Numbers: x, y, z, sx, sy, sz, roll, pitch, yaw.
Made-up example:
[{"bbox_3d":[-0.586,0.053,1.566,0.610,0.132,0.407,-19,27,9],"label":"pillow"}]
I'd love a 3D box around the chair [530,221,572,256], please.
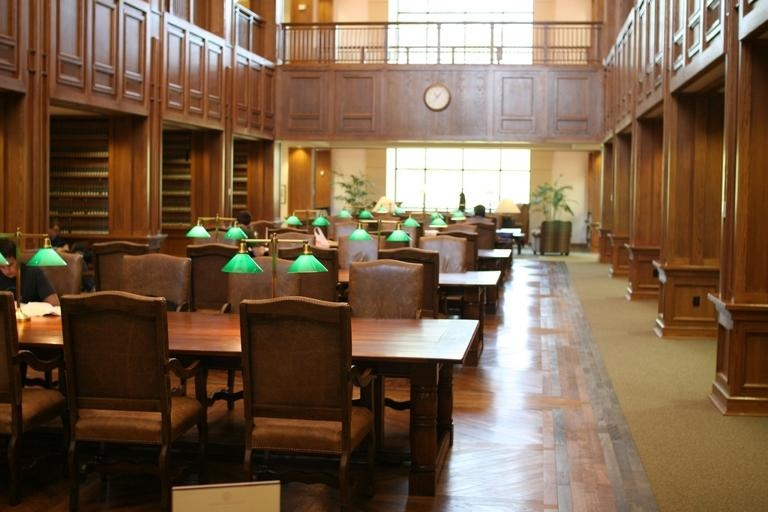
[{"bbox_3d":[5.241,-0.694,20.596,0.928,1.108,1.395,0,15,13],"label":"chair"}]
